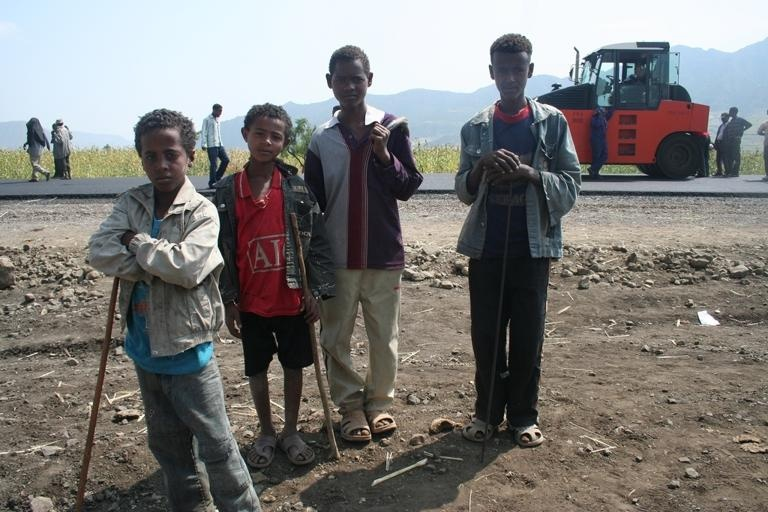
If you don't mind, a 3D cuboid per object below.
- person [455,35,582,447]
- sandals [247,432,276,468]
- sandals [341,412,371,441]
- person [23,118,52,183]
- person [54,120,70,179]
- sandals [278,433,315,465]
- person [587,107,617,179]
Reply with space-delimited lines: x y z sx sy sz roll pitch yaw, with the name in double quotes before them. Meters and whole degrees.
"person" 1.000 -0.109 4.160 0.893 3.103 0.740 0 10 8
"sandals" -0.922 1.466 4.183 0.178 0.149 0.431 9 4 3
"sandals" -0.234 1.331 4.453 0.223 0.208 0.495 4 1 -12
"person" -11.571 -3.519 18.163 0.676 2.041 1.267 -8 11 -31
"person" -11.605 -3.796 19.647 0.664 1.989 1.523 -8 11 -30
"sandals" -0.676 1.463 4.187 0.180 0.146 0.429 -7 6 -34
"person" 6.446 -3.446 16.139 0.589 1.844 1.057 2 11 23
